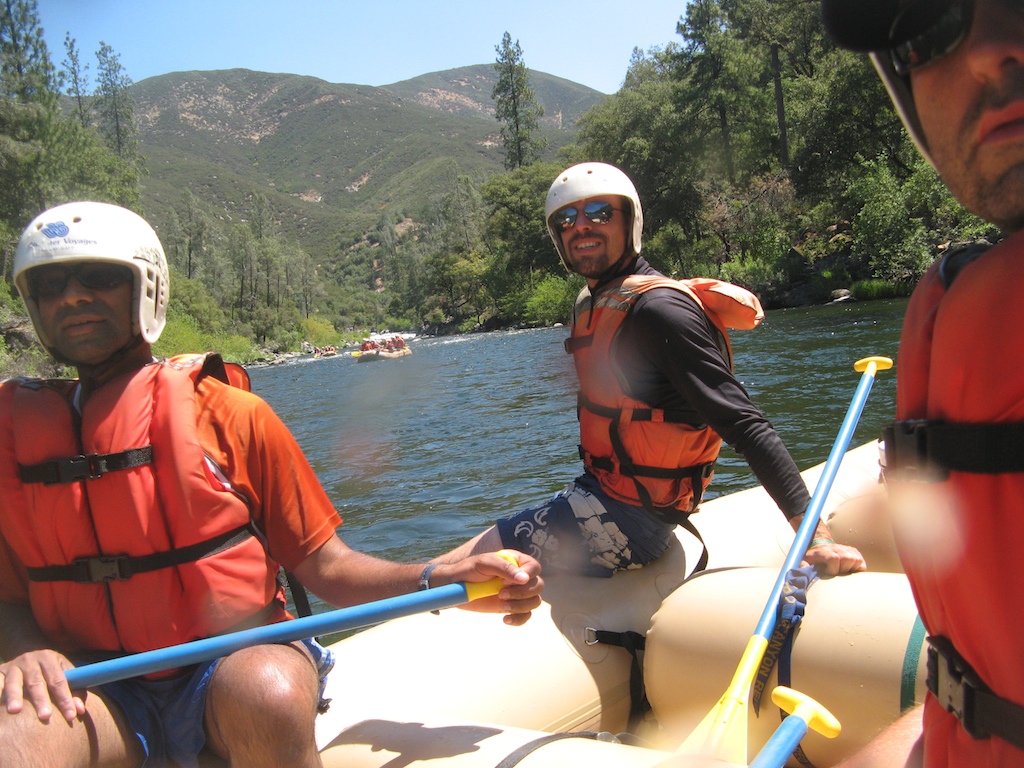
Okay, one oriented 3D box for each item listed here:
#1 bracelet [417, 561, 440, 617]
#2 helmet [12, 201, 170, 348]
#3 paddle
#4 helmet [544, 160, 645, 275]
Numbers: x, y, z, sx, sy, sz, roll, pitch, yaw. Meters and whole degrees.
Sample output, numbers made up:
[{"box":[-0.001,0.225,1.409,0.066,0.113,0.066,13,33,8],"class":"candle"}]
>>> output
[{"box":[-0.232,0.535,2.576,0.030,0.111,0.083,5,15,-1],"class":"bracelet"},{"box":[-1.184,-0.299,2.821,0.337,0.384,0.475,-16,-3,7],"class":"helmet"},{"box":[0.859,0.463,2.846,0.457,0.113,1.873,-9,20,32],"class":"paddle"},{"box":[0.297,-0.701,3.971,0.341,0.378,0.452,-12,-7,5],"class":"helmet"}]
